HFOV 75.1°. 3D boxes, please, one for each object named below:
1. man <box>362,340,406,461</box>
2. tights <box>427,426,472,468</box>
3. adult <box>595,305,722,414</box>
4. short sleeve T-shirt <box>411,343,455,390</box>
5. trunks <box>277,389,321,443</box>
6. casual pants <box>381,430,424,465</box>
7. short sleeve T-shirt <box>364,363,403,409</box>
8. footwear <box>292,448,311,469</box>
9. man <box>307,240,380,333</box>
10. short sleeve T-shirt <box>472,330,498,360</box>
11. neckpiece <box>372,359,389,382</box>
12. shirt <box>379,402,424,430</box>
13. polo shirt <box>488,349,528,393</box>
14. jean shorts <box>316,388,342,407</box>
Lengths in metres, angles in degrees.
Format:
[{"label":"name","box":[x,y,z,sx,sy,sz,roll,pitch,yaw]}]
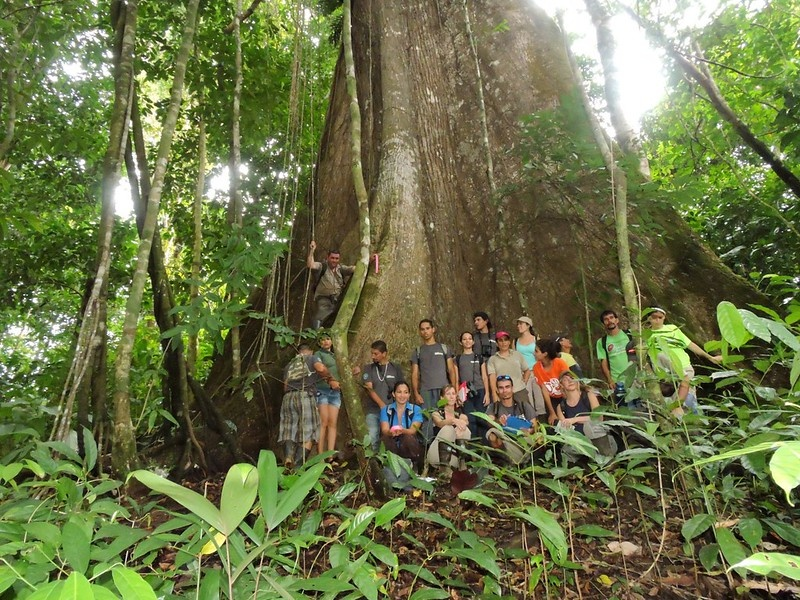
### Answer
[{"label":"man","box":[-0.187,1.132,5.667,0.476,1.377,0.412,-2,6,-20]},{"label":"tights","box":[0.435,1.385,4.966,0.466,0.395,0.339,-12,-19,16]},{"label":"adult","box":[2.245,0.518,4.466,0.674,0.431,0.796,-31,14,27]},{"label":"short sleeve T-shirt","box":[0.373,0.683,5.902,0.445,0.501,0.267,1,16,11]},{"label":"trunks","box":[-1.084,1.203,5.599,0.425,0.609,0.290,4,8,3]},{"label":"casual pants","box":[0.059,1.455,5.115,0.466,0.198,0.302,2,-44,26]},{"label":"short sleeve T-shirt","box":[-0.167,0.950,5.677,0.456,0.604,0.277,0,-13,-10]},{"label":"footwear","box":[-0.993,1.569,5.284,0.183,0.197,0.830,-2,-20,-12]},{"label":"man","box":[-0.852,-0.032,6.811,0.769,1.427,0.398,6,17,-13]},{"label":"short sleeve T-shirt","box":[0.981,0.505,6.109,0.334,0.465,0.248,2,-32,4]},{"label":"neckpiece","box":[-0.219,0.757,5.632,0.134,0.197,0.051,1,-26,-14]},{"label":"shirt","box":[0.015,1.183,5.322,0.407,0.438,0.225,3,4,11]},{"label":"polo shirt","box":[1.221,0.799,5.819,0.433,0.515,0.271,-7,-11,5]},{"label":"jean shorts","box":[-0.793,1.079,5.805,0.268,0.270,0.172,10,-30,-19]}]
